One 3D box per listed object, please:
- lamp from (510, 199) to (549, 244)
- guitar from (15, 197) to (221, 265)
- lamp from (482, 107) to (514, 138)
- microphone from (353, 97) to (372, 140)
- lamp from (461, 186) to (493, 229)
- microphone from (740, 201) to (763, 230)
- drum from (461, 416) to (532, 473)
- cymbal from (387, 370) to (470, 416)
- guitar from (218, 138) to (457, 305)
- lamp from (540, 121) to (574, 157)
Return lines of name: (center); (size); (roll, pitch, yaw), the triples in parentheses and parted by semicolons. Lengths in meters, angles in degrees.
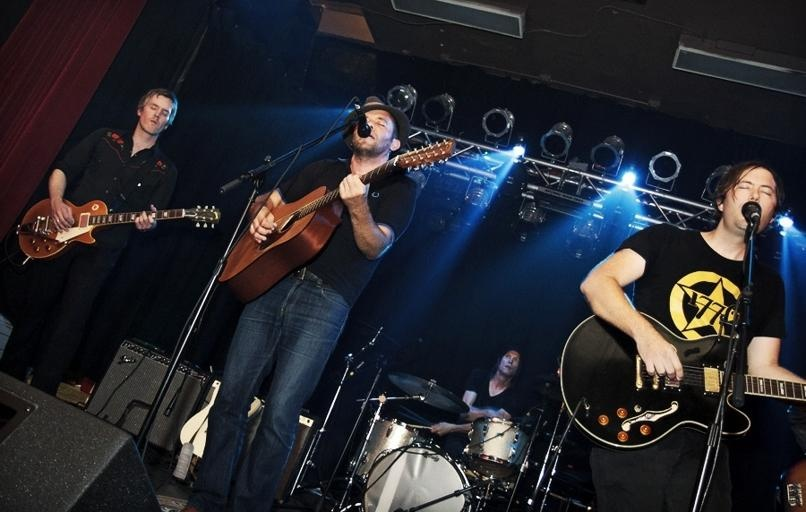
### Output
lamp: (1.692, -0.456, 8.198); (0.445, 0.549, 0.462); (9, -30, 17)
guitar: (-2.865, -0.391, 6.103); (2.159, 0.838, 0.258); (-6, -11, -9)
lamp: (1.231, -1.783, 7.965); (0.344, 0.294, 0.419); (14, -12, 39)
microphone: (-0.355, -1.137, 5.019); (0.116, 0.120, 0.345); (6, -44, 12)
lamp: (1.015, -0.684, 8.312); (0.330, 0.471, 0.444); (8, -1, 13)
microphone: (2.453, -0.300, 4.293); (0.131, 0.190, 0.049); (7, -22, -17)
drum: (1.087, 2.352, 7.142); (0.792, 0.587, 0.783); (13, -43, 12)
cymbal: (0.350, 1.687, 7.278); (0.659, 0.166, 0.672); (6, -32, 50)
guitar: (-0.492, -0.019, 5.155); (2.405, 1.019, 0.346); (-28, -49, 20)
lamp: (1.982, -1.518, 7.870); (0.385, 0.334, 0.379); (20, -10, 5)
